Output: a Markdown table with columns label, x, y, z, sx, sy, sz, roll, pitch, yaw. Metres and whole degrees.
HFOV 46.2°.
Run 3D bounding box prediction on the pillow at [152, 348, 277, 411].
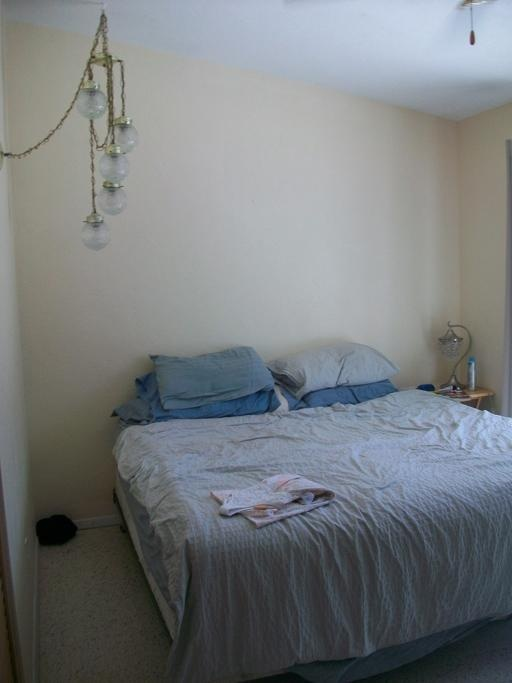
| label | x | y | z | sx | sy | sz | roll | pitch | yaw |
| --- | --- | --- | --- | --- | --- | --- | --- | --- | --- |
| pillow | -0.226 | 0.192 | 3.220 | 0.435 | 0.125 | 0.349 | -3 | 27 | -14 |

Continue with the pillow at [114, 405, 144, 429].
| label | x | y | z | sx | sy | sz | roll | pitch | yaw |
| --- | --- | --- | --- | --- | --- | --- | --- | --- | --- |
| pillow | -0.665 | 0.406 | 3.132 | 0.118 | 0.041 | 0.128 | 2 | 25 | -19 |

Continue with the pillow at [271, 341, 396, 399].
| label | x | y | z | sx | sy | sz | roll | pitch | yaw |
| --- | --- | --- | --- | --- | --- | --- | --- | --- | --- |
| pillow | 0.478 | 0.146 | 3.585 | 0.556 | 0.171 | 0.358 | -5 | 23 | -19 |
